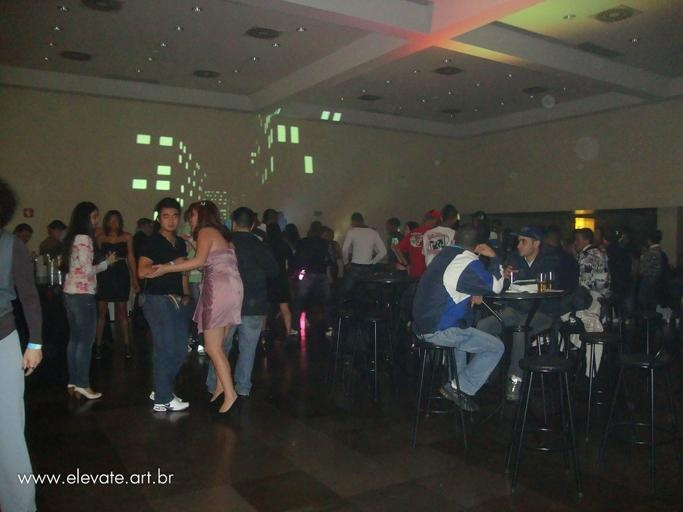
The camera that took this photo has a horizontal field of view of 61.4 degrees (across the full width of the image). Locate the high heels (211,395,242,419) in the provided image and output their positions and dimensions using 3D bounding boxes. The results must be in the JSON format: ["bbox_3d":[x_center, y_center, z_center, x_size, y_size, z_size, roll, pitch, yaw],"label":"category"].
[{"bbox_3d":[-1.054,1.401,5.266,0.116,0.156,0.282,16,-52,-30],"label":"high heels"}]

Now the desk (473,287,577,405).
[{"bbox_3d":[1.645,0.836,5.629,0.882,0.672,0.861,15,-8,-40],"label":"desk"}]

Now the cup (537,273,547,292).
[{"bbox_3d":[1.850,0.232,5.302,0.086,0.163,0.348,3,10,19],"label":"cup"}]

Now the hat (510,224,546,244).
[{"bbox_3d":[1.953,-0.244,5.961,0.233,0.160,0.305,2,10,12],"label":"hat"}]

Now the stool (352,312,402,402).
[{"bbox_3d":[0.370,0.905,6.078,0.481,0.799,1.021,1,10,6],"label":"stool"}]

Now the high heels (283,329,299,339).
[{"bbox_3d":[-0.692,1.070,7.830,0.146,0.163,0.124,4,-10,4],"label":"high heels"}]

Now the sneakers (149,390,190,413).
[{"bbox_3d":[-1.586,1.319,5.315,0.281,0.122,0.188,2,3,-22],"label":"sneakers"}]

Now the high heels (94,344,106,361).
[{"bbox_3d":[-2.949,1.185,7.030,0.149,0.147,0.148,2,-7,-22],"label":"high heels"}]
